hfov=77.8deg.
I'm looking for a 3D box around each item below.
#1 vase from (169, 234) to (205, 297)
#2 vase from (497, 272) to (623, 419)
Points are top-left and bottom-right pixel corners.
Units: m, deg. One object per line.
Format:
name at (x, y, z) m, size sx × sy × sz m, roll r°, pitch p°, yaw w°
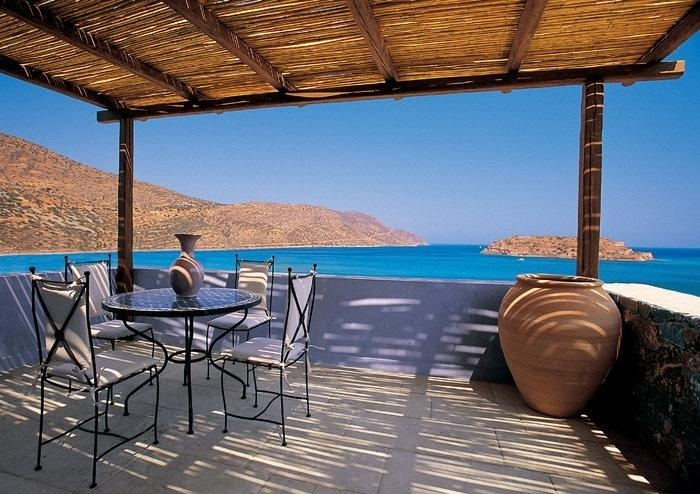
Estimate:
vase at (-1.326, 0.138, 3.538) m, size 0.257 × 0.545 × 0.388 m, roll 5°, pitch -8°, yaw -20°
vase at (1.827, 0.862, 3.902) m, size 1.222 × 1.116 × 1.151 m, roll -2°, pitch -6°, yaw 32°
